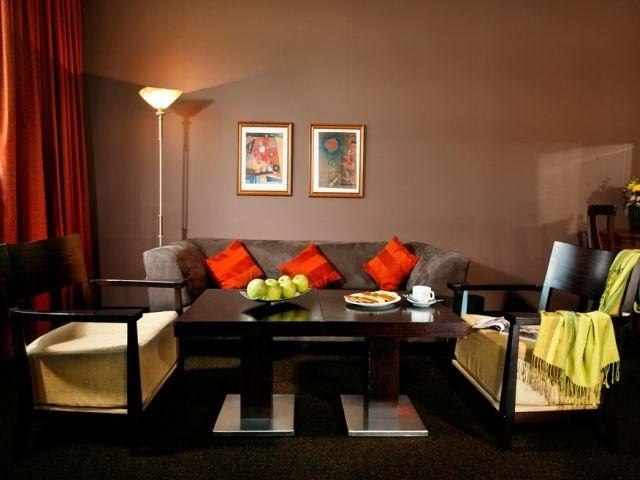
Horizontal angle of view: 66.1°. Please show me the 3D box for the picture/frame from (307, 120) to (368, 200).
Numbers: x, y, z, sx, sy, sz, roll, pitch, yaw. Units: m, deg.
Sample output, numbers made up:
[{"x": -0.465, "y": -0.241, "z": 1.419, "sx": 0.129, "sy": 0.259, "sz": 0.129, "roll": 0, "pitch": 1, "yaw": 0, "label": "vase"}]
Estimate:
[{"x": 0.148, "y": -0.800, "z": 4.740, "sx": 0.695, "sy": 0.915, "sz": 0.063, "roll": 0, "pitch": 7, "yaw": -3, "label": "picture/frame"}]

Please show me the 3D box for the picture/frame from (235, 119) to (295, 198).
[{"x": -0.538, "y": -0.814, "z": 4.713, "sx": 0.688, "sy": 0.871, "sz": 0.042, "roll": 0, "pitch": 3, "yaw": -4, "label": "picture/frame"}]

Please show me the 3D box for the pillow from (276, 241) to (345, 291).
[{"x": -0.100, "y": 0.211, "z": 4.486, "sx": 0.591, "sy": 0.140, "sz": 0.605, "roll": 0, "pitch": 20, "yaw": -12, "label": "pillow"}]

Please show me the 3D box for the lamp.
[{"x": -1.457, "y": -0.665, "z": 4.635, "sx": 0.354, "sy": 1.452, "sz": 0.516, "roll": -6, "pitch": 12, "yaw": -19, "label": "lamp"}]

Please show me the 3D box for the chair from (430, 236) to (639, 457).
[{"x": 1.454, "y": 0.523, "z": 3.585, "sx": 1.042, "sy": 1.473, "sz": 1.421, "roll": 1, "pitch": 2, "yaw": -2, "label": "chair"}]

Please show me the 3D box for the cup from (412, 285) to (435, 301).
[{"x": 0.650, "y": 0.343, "z": 3.162, "sx": 0.116, "sy": 0.086, "sz": 0.090, "roll": 2, "pitch": 0, "yaw": 11, "label": "cup"}]

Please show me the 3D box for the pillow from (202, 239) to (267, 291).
[{"x": -0.716, "y": 0.243, "z": 4.338, "sx": 0.583, "sy": 0.570, "sz": 0.178, "roll": -1, "pitch": 18, "yaw": 20, "label": "pillow"}]

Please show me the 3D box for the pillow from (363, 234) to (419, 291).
[{"x": 0.664, "y": 0.186, "z": 4.479, "sx": 0.586, "sy": 0.180, "sz": 0.610, "roll": 3, "pitch": 19, "yaw": 3, "label": "pillow"}]
